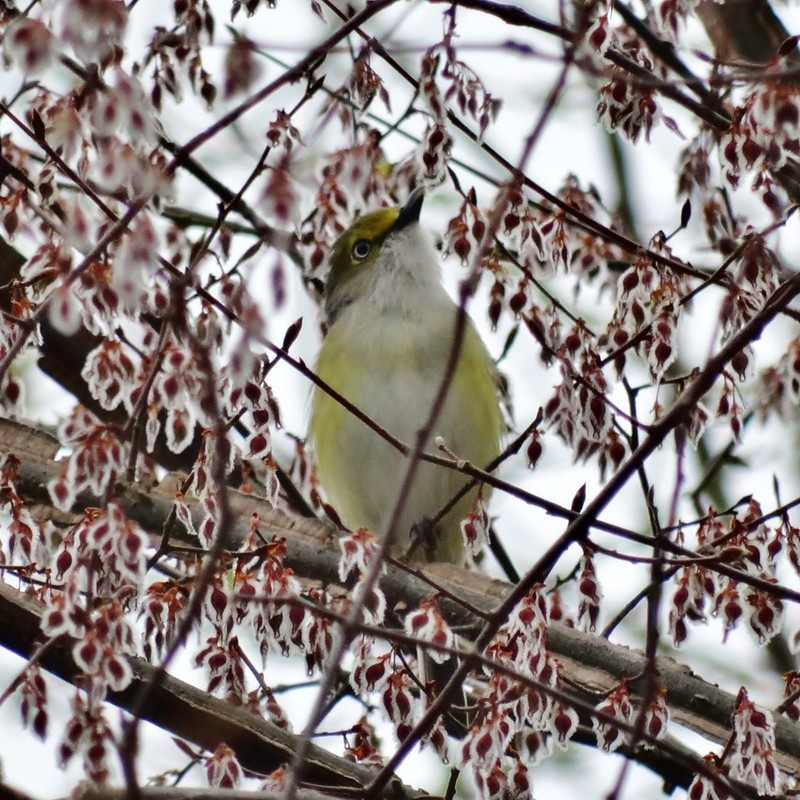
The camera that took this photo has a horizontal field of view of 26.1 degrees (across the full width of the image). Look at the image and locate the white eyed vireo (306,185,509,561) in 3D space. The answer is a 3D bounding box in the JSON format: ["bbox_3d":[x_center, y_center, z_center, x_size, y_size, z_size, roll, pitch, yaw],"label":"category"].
[{"bbox_3d":[-0.135,-0.006,7.690,0.566,1.312,1.721,-4,-94,-19],"label":"white eyed vireo"}]
